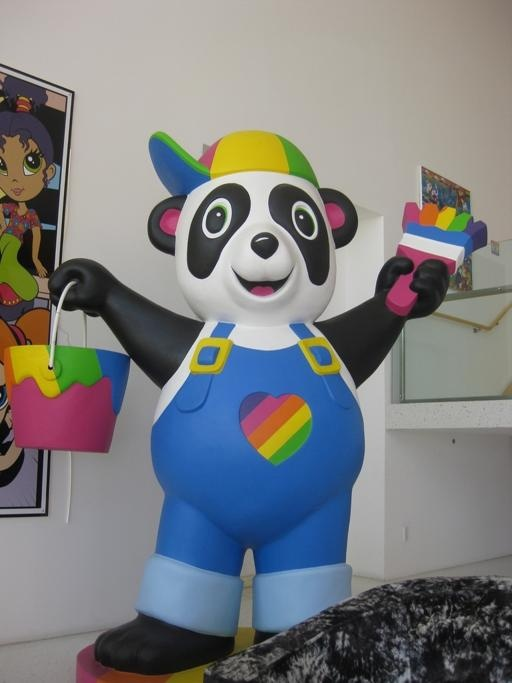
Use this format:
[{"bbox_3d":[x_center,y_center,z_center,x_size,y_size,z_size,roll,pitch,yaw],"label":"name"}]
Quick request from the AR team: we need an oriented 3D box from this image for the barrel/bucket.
[{"bbox_3d":[-0.477,0.136,1.440,0.288,0.211,0.154,11,5,-13],"label":"barrel/bucket"}]
